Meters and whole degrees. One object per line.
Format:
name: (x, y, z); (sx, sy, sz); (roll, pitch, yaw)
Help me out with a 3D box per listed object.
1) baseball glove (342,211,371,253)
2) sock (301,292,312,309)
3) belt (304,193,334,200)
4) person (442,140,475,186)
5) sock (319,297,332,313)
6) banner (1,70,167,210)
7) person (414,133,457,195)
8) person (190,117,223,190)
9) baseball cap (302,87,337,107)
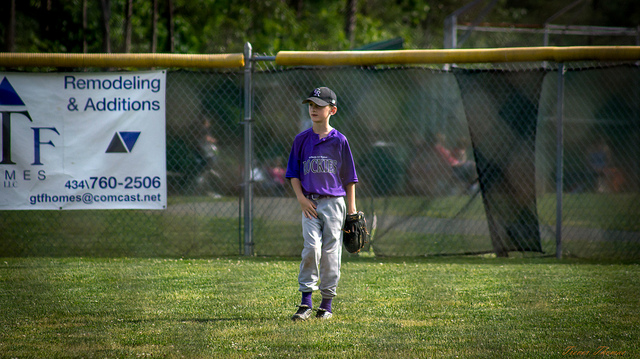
baseball glove: (0.594, 0.925, 21.750); (0.426, 0.722, 0.330); (0, 0, -1)
sock: (-0.219, 2.068, 21.440); (0.242, 0.280, 0.132); (0, 0, -35)
belt: (-0.053, 0.287, 21.446); (0.285, 0.108, 0.017); (0, 0, 9)
person: (2.961, -0.272, 26.462); (0.917, 0.980, 0.291); (10, -23, -17)
sock: (0.097, 2.154, 21.487); (0.252, 0.274, 0.157); (0, 0, -16)
banner: (-4.438, -0.635, 23.228); (2.339, 1.881, 0.034); (0, 1, 1)
person: (2.316, -0.312, 24.987); (0.863, 1.235, 2.450); (0, 1, 6)
person: (-2.287, -0.505, 24.897); (0.639, 1.434, 2.509); (0, 0, -5)
baseball cap: (0.026, -1.404, 21.547); (0.432, 0.255, 0.328); (5, -3, -23)
